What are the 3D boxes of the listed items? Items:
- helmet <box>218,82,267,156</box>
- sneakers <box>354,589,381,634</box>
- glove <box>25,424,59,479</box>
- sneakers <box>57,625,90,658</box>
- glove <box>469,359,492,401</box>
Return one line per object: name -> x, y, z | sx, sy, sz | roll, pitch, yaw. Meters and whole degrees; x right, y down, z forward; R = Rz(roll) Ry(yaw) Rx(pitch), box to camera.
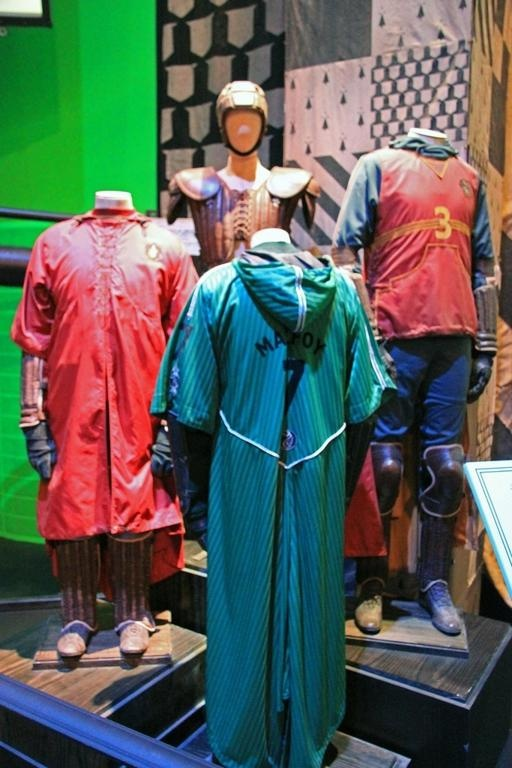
helmet -> -0.049, -0.891, 3.224 | 0.163, 0.239, 0.193 | -2, 11, 2
sneakers -> 0.348, 0.704, 2.945 | 0.078, 0.096, 0.252 | 0, -7, 5
glove -> -0.637, 0.192, 2.798 | 0.091, 0.160, 0.045 | -3, 4, 33
sneakers -> -0.526, 0.729, 2.736 | 0.079, 0.063, 0.157 | -3, 11, -2
glove -> 0.743, -0.009, 3.138 | 0.089, 0.129, 0.053 | 16, 6, 31
